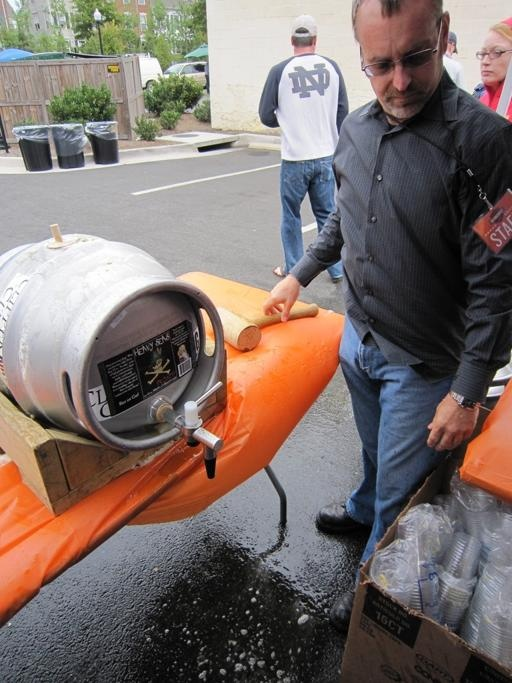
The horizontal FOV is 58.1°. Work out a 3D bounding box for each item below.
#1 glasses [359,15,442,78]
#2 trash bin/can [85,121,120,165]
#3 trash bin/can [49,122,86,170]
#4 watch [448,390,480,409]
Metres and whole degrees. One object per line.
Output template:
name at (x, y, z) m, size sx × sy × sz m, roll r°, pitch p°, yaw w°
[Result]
glasses at (0.319, -0.611, 1.010) m, size 0.134 × 0.040 × 0.130 m, roll -6°, pitch 50°, yaw 43°
trash bin/can at (-3.428, -4.375, 10.123) m, size 0.783 × 0.778 × 0.747 m, roll -12°, pitch 33°, yaw -25°
trash bin/can at (-3.924, -4.141, 9.829) m, size 0.743 × 0.914 × 0.670 m, roll -11°, pitch 27°, yaw -19°
watch at (0.489, 0.134, 1.086) m, size 0.043 × 0.026 × 0.052 m, roll 14°, pitch 6°, yaw 24°
